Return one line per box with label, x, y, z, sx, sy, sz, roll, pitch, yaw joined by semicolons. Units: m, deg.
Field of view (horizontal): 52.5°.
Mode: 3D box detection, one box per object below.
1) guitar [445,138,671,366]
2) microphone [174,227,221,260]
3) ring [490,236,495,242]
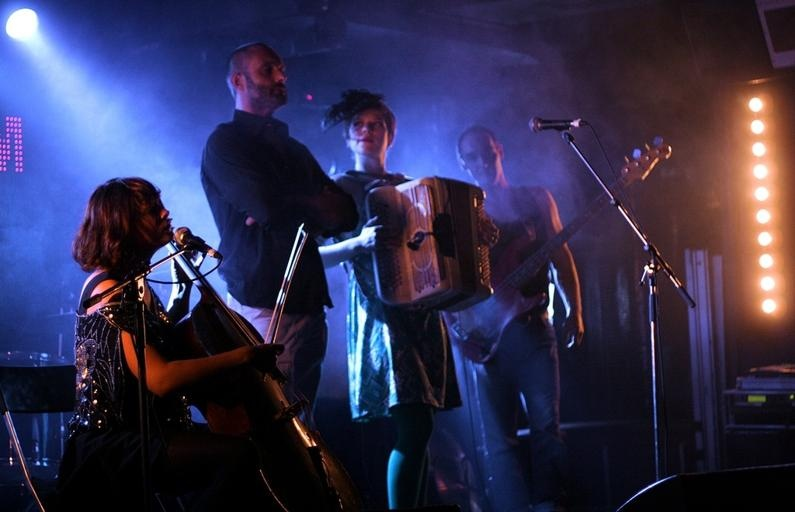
guitar;1.222;0.005;7.683;3.163;1.250;0.363;-40;12;-29
microphone;-1.432;-0.098;5.515;0.434;0.135;0.130;22;7;29
ring;0.783;-0.141;6.611;0.035;0.037;0.039;-8;-12;24
